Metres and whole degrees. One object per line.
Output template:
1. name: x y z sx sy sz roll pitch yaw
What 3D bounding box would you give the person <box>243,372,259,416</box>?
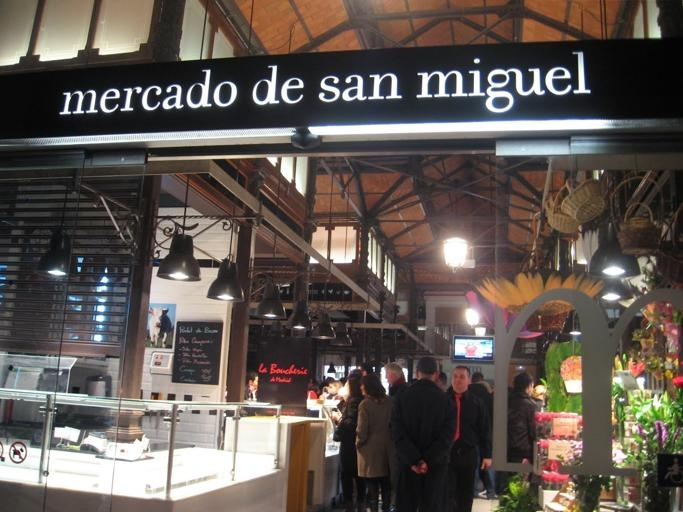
1. person: -1.733 2.602 12.188 0.309 1.070 0.259 1 15 -7

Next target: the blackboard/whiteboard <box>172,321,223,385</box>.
1. blackboard/whiteboard: -2.106 1.484 9.465 0.953 1.138 0.056 0 -13 10

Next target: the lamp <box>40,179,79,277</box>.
1. lamp: -1.522 -0.130 3.447 0.185 0.499 0.058 0 -14 13
